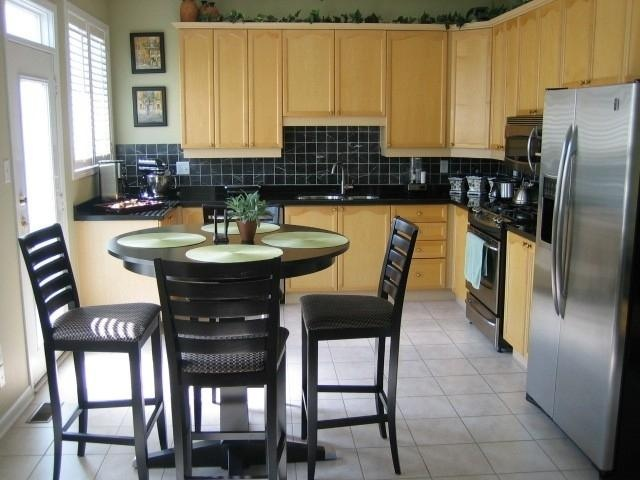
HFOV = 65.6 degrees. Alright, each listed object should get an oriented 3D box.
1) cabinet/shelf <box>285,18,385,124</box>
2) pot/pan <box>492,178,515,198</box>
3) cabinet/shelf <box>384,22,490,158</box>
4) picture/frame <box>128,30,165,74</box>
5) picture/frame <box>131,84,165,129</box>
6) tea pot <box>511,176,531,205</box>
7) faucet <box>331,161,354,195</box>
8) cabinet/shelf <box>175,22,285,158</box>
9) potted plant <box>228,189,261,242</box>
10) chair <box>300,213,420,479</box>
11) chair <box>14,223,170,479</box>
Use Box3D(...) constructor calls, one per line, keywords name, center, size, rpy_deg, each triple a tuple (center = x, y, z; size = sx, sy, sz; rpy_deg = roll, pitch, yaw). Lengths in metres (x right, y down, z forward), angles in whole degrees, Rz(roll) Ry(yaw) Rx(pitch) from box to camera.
Box3D(name="cabinet/shelf", center=(0.128, -1.768, 5.085), size=(1.009, 0.873, 0.399), rpy_deg=(0, 7, -1))
Box3D(name="pot/pan", center=(1.709, -0.479, 4.645), size=(0.148, 0.132, 0.188), rpy_deg=(-2, 4, -27))
Box3D(name="cabinet/shelf", center=(1.220, -1.614, 5.133), size=(1.339, 1.416, 0.724), rpy_deg=(0, 5, 1))
Box3D(name="picture/frame", center=(-1.844, -2.011, 5.244), size=(0.428, 0.501, 0.036), rpy_deg=(0, 7, -6))
Box3D(name="picture/frame", center=(-1.856, -1.464, 5.339), size=(0.427, 0.520, 0.035), rpy_deg=(0, 9, -5))
Box3D(name="tea pot", center=(1.754, -0.422, 4.408), size=(0.176, 0.213, 0.241), rpy_deg=(2, 2, 18))
Box3D(name="faucet", center=(0.285, -0.687, 5.498), size=(0.253, 0.341, 0.327), rpy_deg=(-3, 15, -13))
Box3D(name="cabinet/shelf", center=(-0.901, -1.564, 5.040), size=(1.227, 1.437, 0.665), rpy_deg=(0, 7, -3))
Box3D(name="potted plant", center=(-0.457, -0.153, 3.274), size=(0.321, 0.358, 0.344), rpy_deg=(1, 1, 1))
Box3D(name="chair", center=(0.207, 0.568, 2.849), size=(0.638, 1.347, 0.788), rpy_deg=(0, 14, -2))
Box3D(name="chair", center=(-1.188, 0.605, 2.655), size=(0.609, 1.296, 0.657), rpy_deg=(-1, 14, -3))
